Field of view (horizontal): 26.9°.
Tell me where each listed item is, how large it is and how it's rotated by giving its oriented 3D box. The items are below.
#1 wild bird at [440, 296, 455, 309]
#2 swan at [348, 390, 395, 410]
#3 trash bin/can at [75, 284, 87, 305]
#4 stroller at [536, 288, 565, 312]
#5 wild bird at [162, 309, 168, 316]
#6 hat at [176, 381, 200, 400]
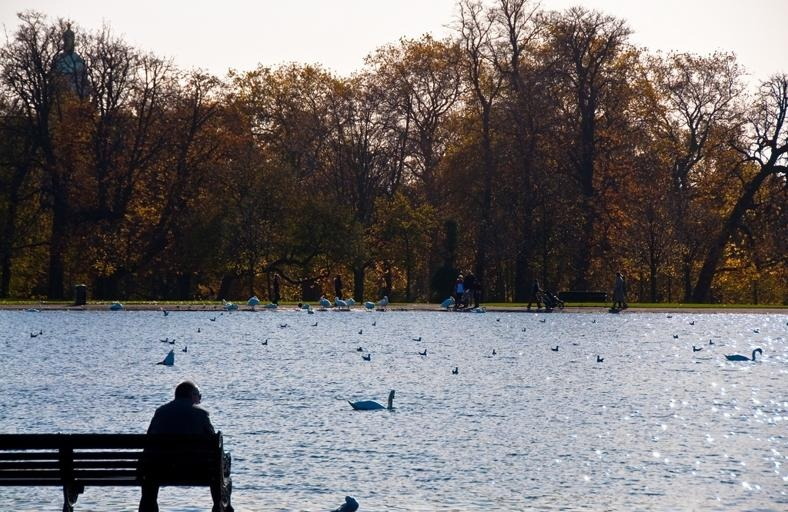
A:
[{"bbox_3d":[3.838,3.270,116.890,0.937,0.980,1.967,0,13,1],"label":"wild bird"},{"bbox_3d":[-1.351,7.212,82.077,2.958,1.127,0.875,2,0,-15],"label":"swan"},{"bbox_3d":[-21.889,2.612,115.153,0.713,1.453,0.651,-5,15,-21],"label":"trash bin/can"},{"bbox_3d":[10.974,2.988,115.496,2.131,1.320,1.216,-5,4,-45],"label":"stroller"},{"bbox_3d":[-15.398,3.732,110.842,0.402,0.285,0.588,-11,-5,-5],"label":"wild bird"},{"bbox_3d":[-9.265,6.037,74.476,0.792,0.895,0.964,3,0,43],"label":"hat"}]
